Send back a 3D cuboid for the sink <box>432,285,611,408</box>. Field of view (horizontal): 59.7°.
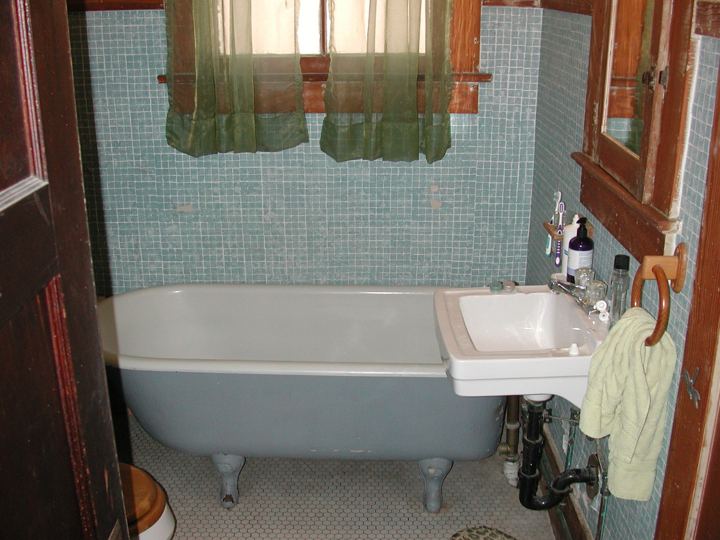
[{"bbox_3d":[0.499,0.236,1.989,0.361,0.224,0.538,0,19,7],"label":"sink"}]

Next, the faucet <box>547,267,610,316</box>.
[{"bbox_3d":[0.737,0.062,2.146,0.080,0.146,0.283,-6,14,-10],"label":"faucet"}]

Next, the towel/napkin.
[{"bbox_3d":[0.708,0.356,1.680,0.203,0.472,0.190,12,24,32],"label":"towel/napkin"}]
